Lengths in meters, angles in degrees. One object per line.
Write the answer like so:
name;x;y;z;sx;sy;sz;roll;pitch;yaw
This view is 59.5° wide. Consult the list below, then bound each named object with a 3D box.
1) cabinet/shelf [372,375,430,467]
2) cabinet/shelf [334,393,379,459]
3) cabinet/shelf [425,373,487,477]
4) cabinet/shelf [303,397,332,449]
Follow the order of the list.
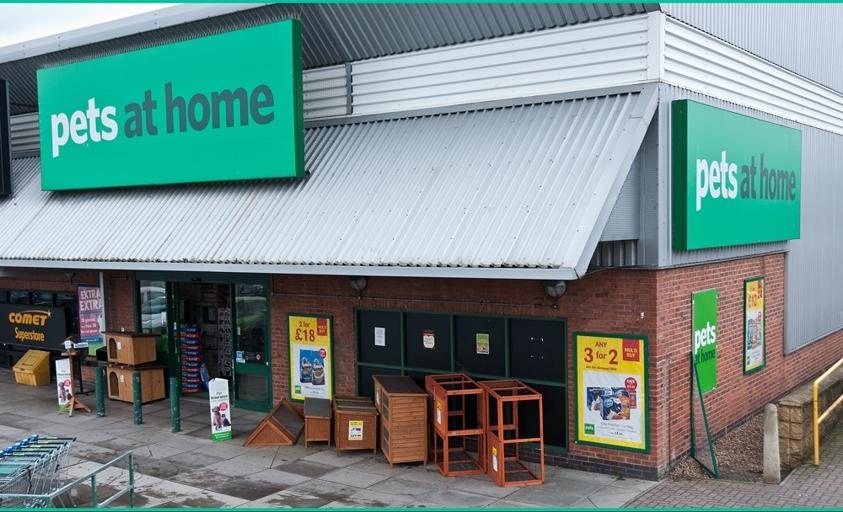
cabinet/shelf;-0.421;3.836;16.941;1.083;1.656;1.253;-3;11;-11
cabinet/shelf;-1.756;4.271;17.903;1.038;0.907;1.850;4;-11;-14
cabinet/shelf;0.764;3.879;16.609;1.318;2.021;2.186;-1;2;-14
cabinet/shelf;-2.477;4.087;17.828;0.637;0.831;0.720;-2;11;-6
